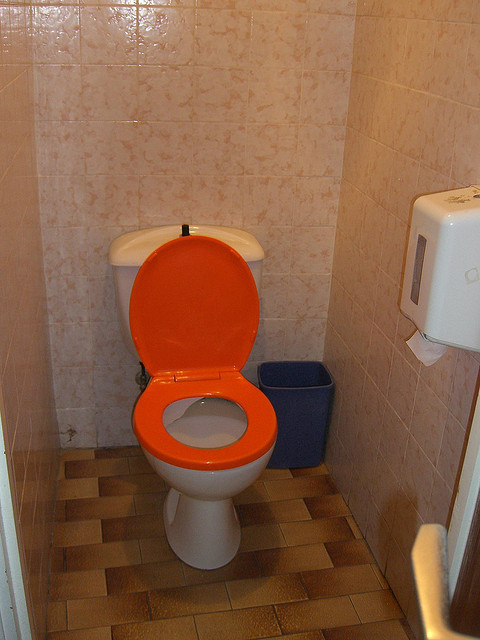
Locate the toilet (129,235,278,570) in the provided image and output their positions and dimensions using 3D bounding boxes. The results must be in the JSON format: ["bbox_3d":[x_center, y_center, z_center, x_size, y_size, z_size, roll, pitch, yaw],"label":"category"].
[{"bbox_3d":[-0.110,0.265,1.581,0.398,0.908,0.834,-4,25,-11],"label":"toilet"}]

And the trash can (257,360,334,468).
[{"bbox_3d":[0.188,0.407,2.164,0.274,0.452,0.284,-2,29,-14],"label":"trash can"}]
